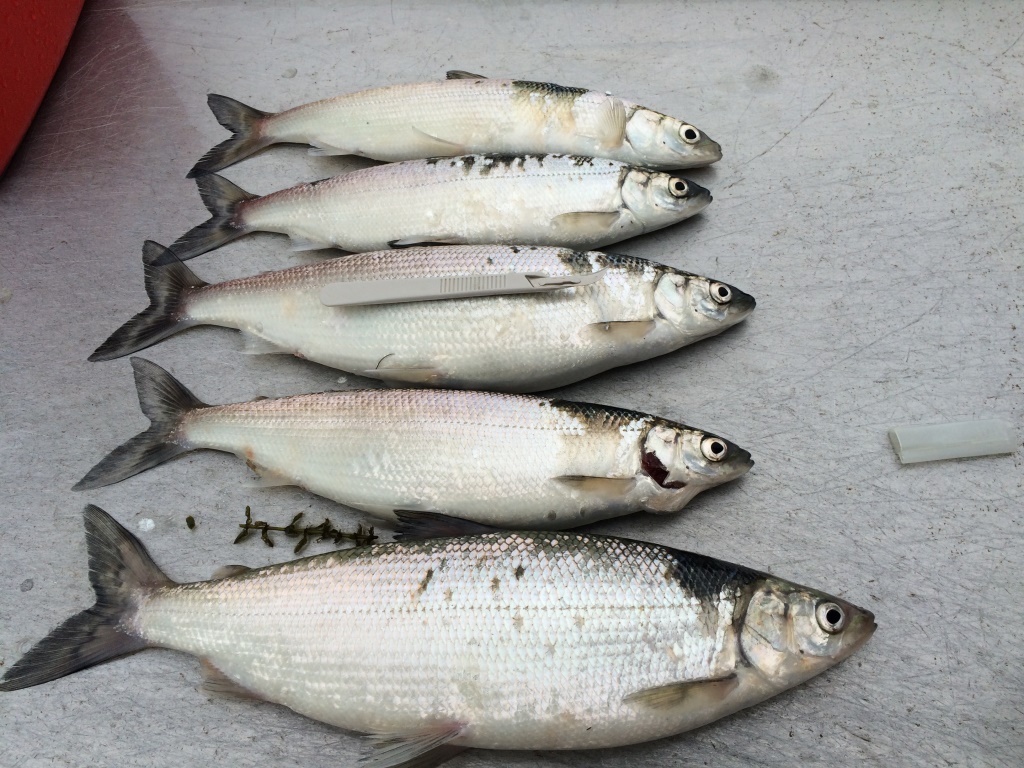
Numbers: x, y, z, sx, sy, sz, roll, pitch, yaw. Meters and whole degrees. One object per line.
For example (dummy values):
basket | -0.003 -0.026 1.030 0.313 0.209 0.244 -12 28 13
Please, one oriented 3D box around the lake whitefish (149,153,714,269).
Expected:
lake whitefish | -0.251 -0.576 3.667 1.783 0.211 0.276 0 96 7

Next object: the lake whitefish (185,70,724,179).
lake whitefish | -0.220 -0.881 3.851 1.910 0.197 0.325 5 106 19

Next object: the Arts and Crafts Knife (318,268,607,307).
Arts and Crafts Knife | -0.155 -0.283 3.391 0.842 0.050 0.080 -3 66 5
